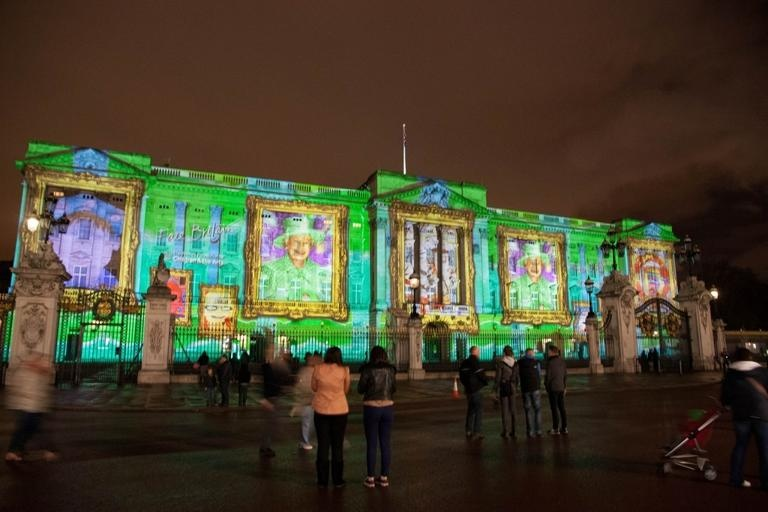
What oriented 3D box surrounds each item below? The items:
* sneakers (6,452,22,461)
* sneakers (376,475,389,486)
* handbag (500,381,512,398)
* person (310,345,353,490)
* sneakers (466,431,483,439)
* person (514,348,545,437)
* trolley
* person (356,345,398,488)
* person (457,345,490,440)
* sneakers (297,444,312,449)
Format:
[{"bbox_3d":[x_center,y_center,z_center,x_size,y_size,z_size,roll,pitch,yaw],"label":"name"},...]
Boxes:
[{"bbox_3d":[-8.358,4.531,13.506,0.348,0.215,0.205,4,-12,-17],"label":"sneakers"},{"bbox_3d":[0.001,4.703,12.553,0.271,0.195,0.270,4,-12,-17],"label":"sneakers"},{"bbox_3d":[3.424,3.744,16.701,0.338,0.387,0.304,-2,-12,11],"label":"handbag"},{"bbox_3d":[-1.138,3.340,12.533,0.766,2.843,0.336,2,-12,-7],"label":"person"},{"bbox_3d":[2.444,4.820,16.085,0.157,0.177,0.396,2,-24,-2],"label":"sneakers"},{"bbox_3d":[4.152,3.800,17.005,0.617,2.434,1.432,-2,-12,12],"label":"person"},{"bbox_3d":[6.782,4.051,13.324,1.229,1.448,0.979,-1,-7,35],"label":"trolley"},{"bbox_3d":[-0.155,3.369,12.657,0.739,2.900,0.388,1,-12,-3],"label":"person"},{"bbox_3d":[2.518,3.753,16.831,0.690,2.481,1.415,-1,-12,7],"label":"person"},{"bbox_3d":[-1.936,4.726,14.871,0.271,0.120,0.138,0,-3,7],"label":"sneakers"}]
